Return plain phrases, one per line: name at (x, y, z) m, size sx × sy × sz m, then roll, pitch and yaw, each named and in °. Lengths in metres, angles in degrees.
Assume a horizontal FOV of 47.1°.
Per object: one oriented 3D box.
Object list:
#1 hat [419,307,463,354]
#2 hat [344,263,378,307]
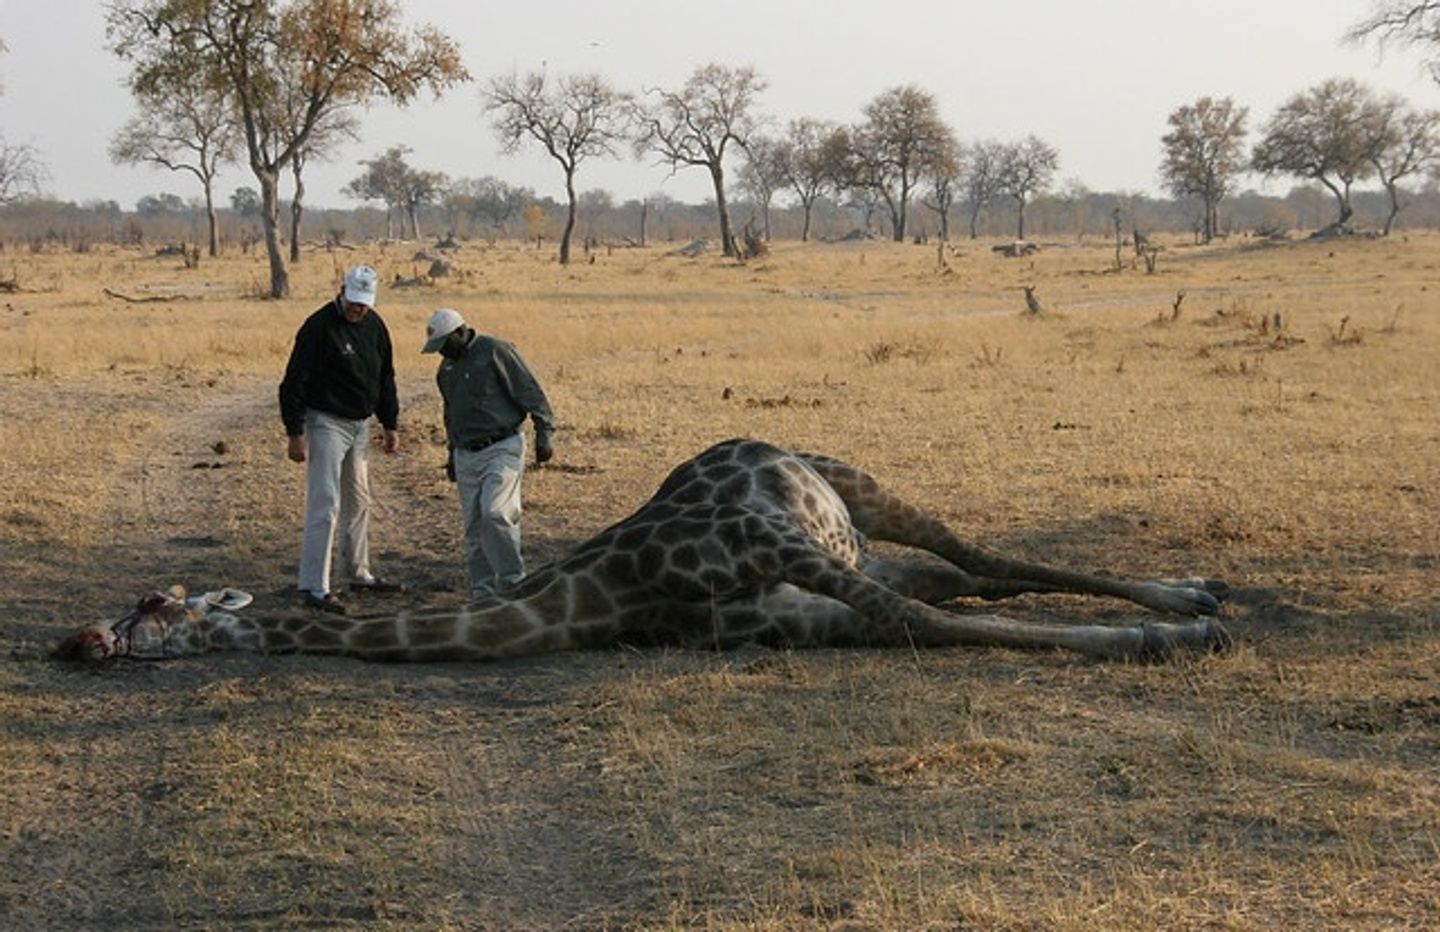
hat at (-2.493, -1.181, 14.897) m, size 0.320 × 0.405 × 0.520 m, roll -3°, pitch 15°, yaw -9°
hat at (-3.221, -1.604, 14.726) m, size 0.242 × 0.189 × 0.365 m, roll 5°, pitch 19°, yaw -28°
